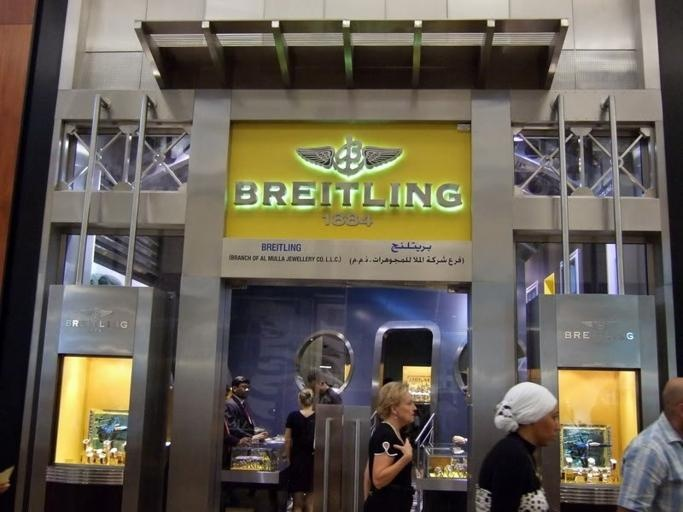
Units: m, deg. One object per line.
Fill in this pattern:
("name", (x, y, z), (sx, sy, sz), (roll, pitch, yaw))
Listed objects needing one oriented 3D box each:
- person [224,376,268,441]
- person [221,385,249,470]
("person", (-1.263, 1.950, 8.625), (0.497, 0.810, 0.508), (-4, -8, 32))
("person", (-1.296, 2.092, 8.191), (0.282, 0.370, 0.945), (-6, 34, -6))
